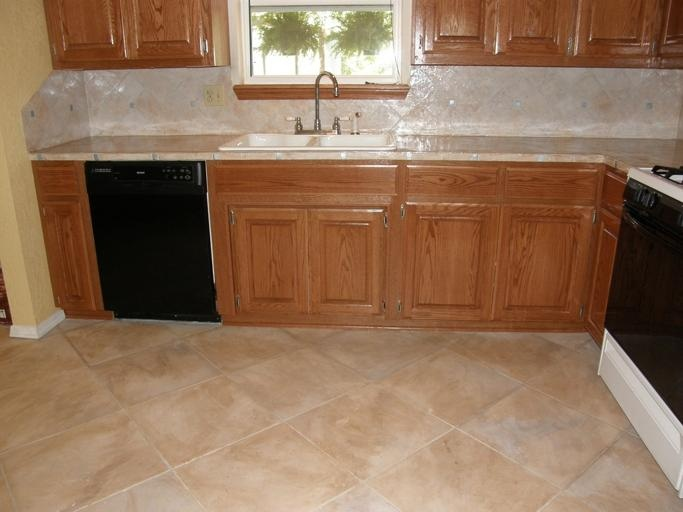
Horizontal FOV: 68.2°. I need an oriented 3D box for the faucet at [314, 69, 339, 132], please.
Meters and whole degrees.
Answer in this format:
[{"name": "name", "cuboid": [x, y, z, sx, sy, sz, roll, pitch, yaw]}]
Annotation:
[{"name": "faucet", "cuboid": [-0.099, -0.990, 3.231, 0.167, 0.364, 0.296, -1, 22, -1]}]
